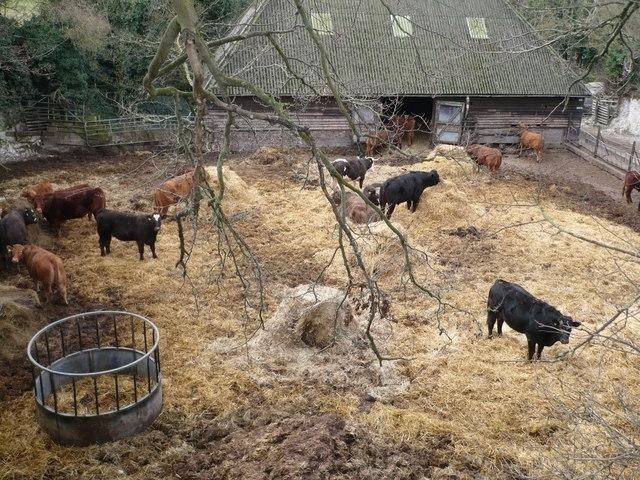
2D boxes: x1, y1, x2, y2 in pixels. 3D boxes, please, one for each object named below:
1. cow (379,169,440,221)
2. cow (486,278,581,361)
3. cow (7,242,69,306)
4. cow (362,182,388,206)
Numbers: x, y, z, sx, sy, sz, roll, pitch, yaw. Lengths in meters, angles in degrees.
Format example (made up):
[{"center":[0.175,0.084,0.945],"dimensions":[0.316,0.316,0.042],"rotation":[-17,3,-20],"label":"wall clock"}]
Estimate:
[{"center":[2.520,-1.186,17.334],"dimensions":[1.315,0.916,0.397],"rotation":[-26,31,-26],"label":"cow"},{"center":[3.875,1.625,11.828],"dimensions":[0.543,1.211,1.827],"rotation":[-12,33,-31],"label":"cow"},{"center":[-5.891,0.769,13.326],"dimensions":[1.346,1.085,0.460],"rotation":[19,29,24],"label":"cow"},{"center":[1.547,-1.306,17.731],"dimensions":[0.449,0.731,1.238],"rotation":[-4,8,-1],"label":"cow"}]
